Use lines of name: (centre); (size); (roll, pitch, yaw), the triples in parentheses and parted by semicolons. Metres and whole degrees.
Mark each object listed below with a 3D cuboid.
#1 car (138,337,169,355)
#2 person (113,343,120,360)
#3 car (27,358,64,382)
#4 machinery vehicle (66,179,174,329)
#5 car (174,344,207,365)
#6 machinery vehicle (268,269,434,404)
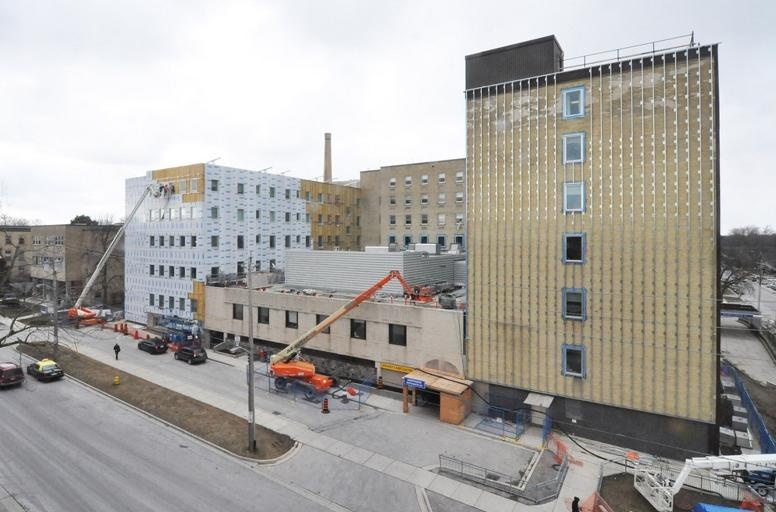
car: (-25.114, 9.357, 64.681); (3.220, 1.028, 1.382); (10, 11, 31)
person: (-27.842, 9.524, 62.353); (0.487, 1.446, 2.086); (-5, 12, -28)
car: (-32.004, 10.505, 56.636); (3.041, 1.561, 1.632); (5, 12, 24)
machinery vehicle: (-36.625, -0.957, 77.246); (11.382, 17.548, 22.761); (-8, 14, -39)
car: (-19.889, 9.805, 61.887); (2.865, 1.410, 1.917); (8, 13, 33)
machinery vehicle: (-3.403, 6.528, 56.536); (14.931, 10.271, 6.482); (-3, 11, -20)
